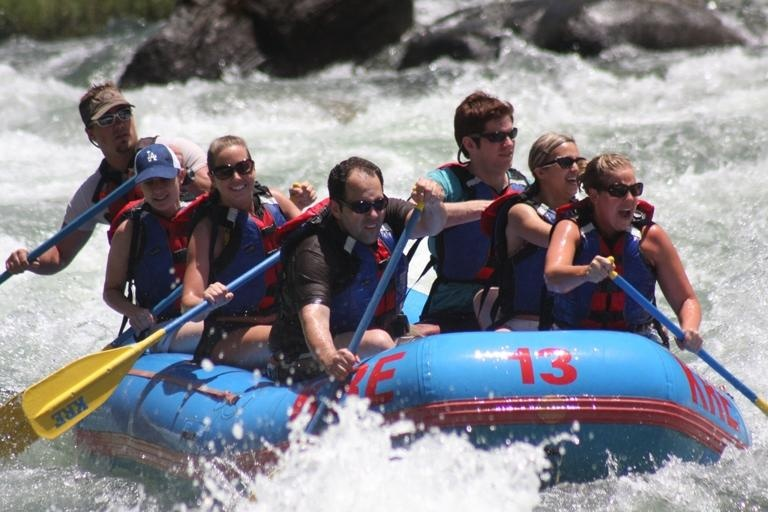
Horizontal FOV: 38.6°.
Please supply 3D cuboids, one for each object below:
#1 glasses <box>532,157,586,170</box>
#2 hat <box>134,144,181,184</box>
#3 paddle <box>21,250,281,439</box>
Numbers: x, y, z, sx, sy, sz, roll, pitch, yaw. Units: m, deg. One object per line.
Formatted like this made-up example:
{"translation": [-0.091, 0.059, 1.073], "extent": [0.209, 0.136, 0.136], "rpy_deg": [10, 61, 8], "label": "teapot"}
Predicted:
{"translation": [1.600, -0.833, 9.831], "extent": [0.193, 0.055, 0.191], "rpy_deg": [-7, -6, -43], "label": "glasses"}
{"translation": [-2.121, -0.854, 10.165], "extent": [0.434, 0.326, 0.287], "rpy_deg": [-12, 29, -10], "label": "hat"}
{"translation": [-2.104, 0.861, 10.142], "extent": [3.536, 0.620, 0.177], "rpy_deg": [-28, 3, -6], "label": "paddle"}
